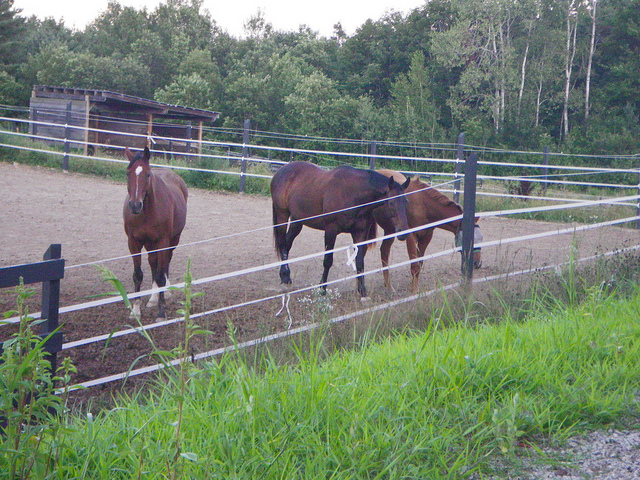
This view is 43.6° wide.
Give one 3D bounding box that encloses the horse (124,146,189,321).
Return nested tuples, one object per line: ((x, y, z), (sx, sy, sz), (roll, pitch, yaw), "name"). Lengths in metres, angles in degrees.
((-3.440, -0.166, 16.365), (1.016, 3.372, 2.015), (3, 6, 3), "horse")

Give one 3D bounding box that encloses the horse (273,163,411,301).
((0.304, -0.250, 17.922), (1.219, 3.042, 4.255), (-9, 17, -43), "horse")
